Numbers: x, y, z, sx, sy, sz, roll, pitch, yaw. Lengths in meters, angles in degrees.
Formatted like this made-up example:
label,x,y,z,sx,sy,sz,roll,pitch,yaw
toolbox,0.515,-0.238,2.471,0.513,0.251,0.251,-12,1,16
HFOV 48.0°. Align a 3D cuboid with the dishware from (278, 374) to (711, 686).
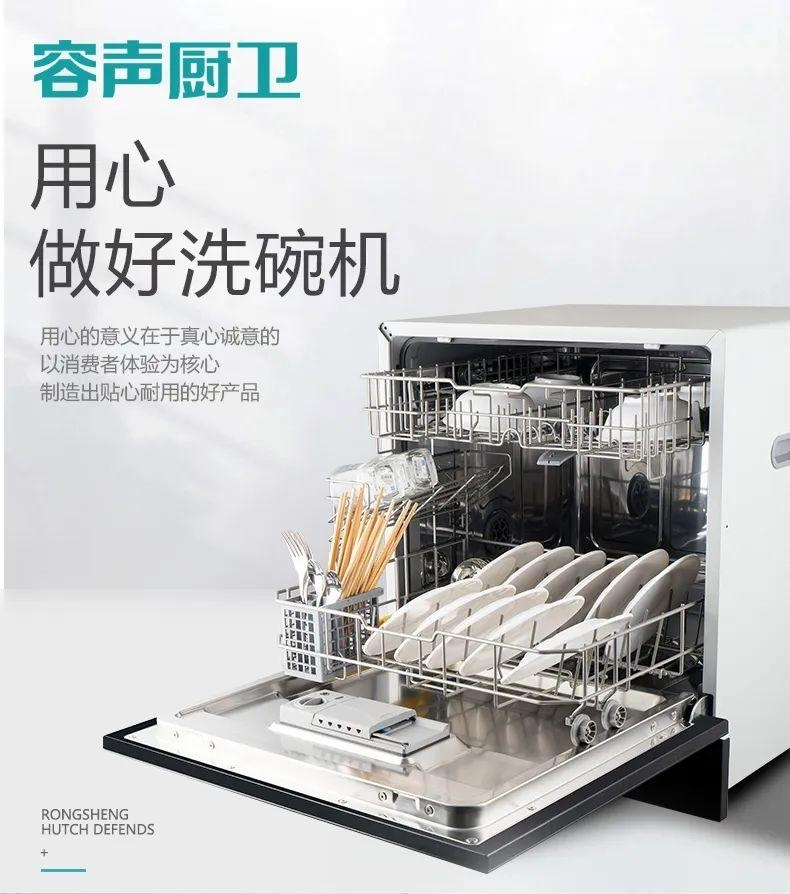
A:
label,x,y,z,sx,sy,sz,roll,pitch,yaw
dishware,0.201,0.142,1.418,0.527,0.433,0.695,9,18,37
